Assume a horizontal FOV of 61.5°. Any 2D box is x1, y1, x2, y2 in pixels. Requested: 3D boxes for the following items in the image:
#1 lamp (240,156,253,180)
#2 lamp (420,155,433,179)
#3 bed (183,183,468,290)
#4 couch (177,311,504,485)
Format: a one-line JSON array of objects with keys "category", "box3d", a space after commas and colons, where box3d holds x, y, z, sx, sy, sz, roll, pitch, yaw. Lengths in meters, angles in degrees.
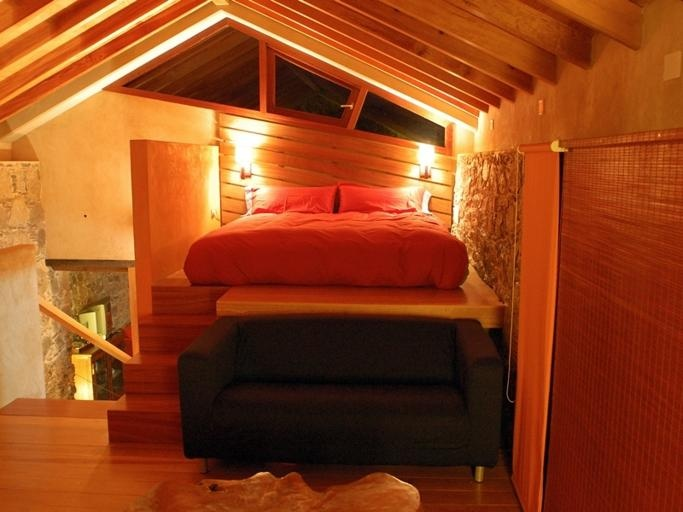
[{"category": "lamp", "box3d": [-1.113, -1.033, 6.759, 0.150, 0.251, 0.040, 2, 4, -18]}, {"category": "lamp", "box3d": [0.978, -1.015, 6.603, 0.140, 0.250, 0.046, 3, 4, 7]}, {"category": "bed", "box3d": [-0.012, -0.252, 5.519, 2.253, 0.964, 2.206, 3, 4, 6]}, {"category": "couch", "box3d": [0.001, 0.826, 3.605, 1.884, 0.851, 0.611, 3, 4, 3]}]
